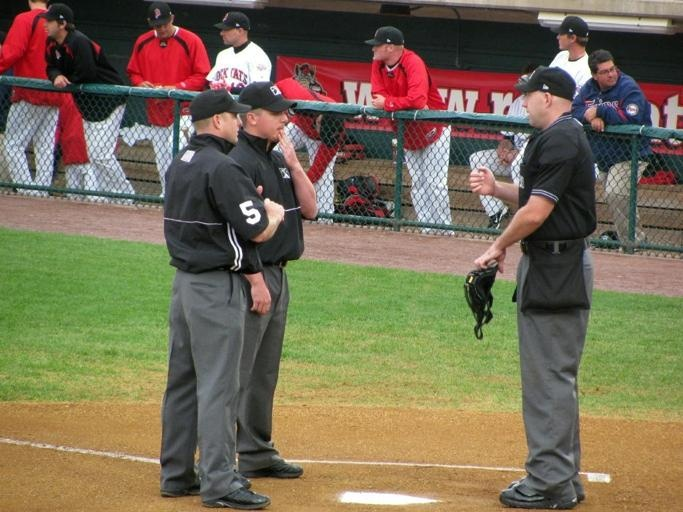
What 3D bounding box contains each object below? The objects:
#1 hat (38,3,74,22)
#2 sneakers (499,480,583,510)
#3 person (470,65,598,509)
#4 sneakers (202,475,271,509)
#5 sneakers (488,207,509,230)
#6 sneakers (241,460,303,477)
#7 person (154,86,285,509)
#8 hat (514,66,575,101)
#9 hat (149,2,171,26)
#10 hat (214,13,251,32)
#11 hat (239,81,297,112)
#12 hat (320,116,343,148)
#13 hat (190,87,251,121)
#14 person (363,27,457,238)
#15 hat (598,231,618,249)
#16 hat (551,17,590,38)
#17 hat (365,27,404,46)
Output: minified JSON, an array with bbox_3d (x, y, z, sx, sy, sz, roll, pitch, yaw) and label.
[{"bbox_3d":[-3.390,-2.911,16.825,0.312,0.156,0.219,18,26,-2],"label":"hat"},{"bbox_3d":[1.600,1.964,11.426,0.687,0.264,0.233,5,-1,4],"label":"sneakers"},{"bbox_3d":[1.679,0.250,11.466,0.723,3.601,0.392,2,2,9],"label":"person"},{"bbox_3d":[-0.821,1.897,11.279,0.574,0.254,0.234,-1,2,-5],"label":"sneakers"},{"bbox_3d":[1.879,-0.481,16.830,0.161,0.329,0.102,24,5,-5],"label":"sneakers"},{"bbox_3d":[-0.594,1.795,11.861,0.541,0.205,0.175,-2,4,-4],"label":"sneakers"},{"bbox_3d":[-0.981,0.335,11.261,0.877,3.351,0.452,1,2,-7],"label":"person"},{"bbox_3d":[1.688,-1.421,11.580,0.405,0.192,0.274,12,17,12],"label":"hat"},{"bbox_3d":[-2.186,-2.959,17.070,0.254,0.322,0.253,1,2,-1],"label":"hat"},{"bbox_3d":[-1.327,-2.841,17.125,0.387,0.193,0.267,6,21,-2],"label":"hat"},{"bbox_3d":[-0.634,-1.313,11.557,0.369,0.173,0.225,-4,18,0],"label":"hat"},{"bbox_3d":[-0.122,-1.533,17.161,0.334,0.309,0.090,13,25,26],"label":"hat"},{"bbox_3d":[-0.916,-1.236,11.385,0.531,0.263,0.342,-1,5,31],"label":"hat"},{"bbox_3d":[0.861,-1.468,16.721,1.091,2.417,0.717,1,2,-8],"label":"person"},{"bbox_3d":[3.149,-0.198,16.539,0.216,0.198,0.080,-8,-23,3],"label":"hat"},{"bbox_3d":[2.603,-2.586,15.889,0.318,0.161,0.223,19,27,12],"label":"hat"},{"bbox_3d":[0.503,-2.544,16.416,0.451,0.227,0.275,5,25,1],"label":"hat"}]
